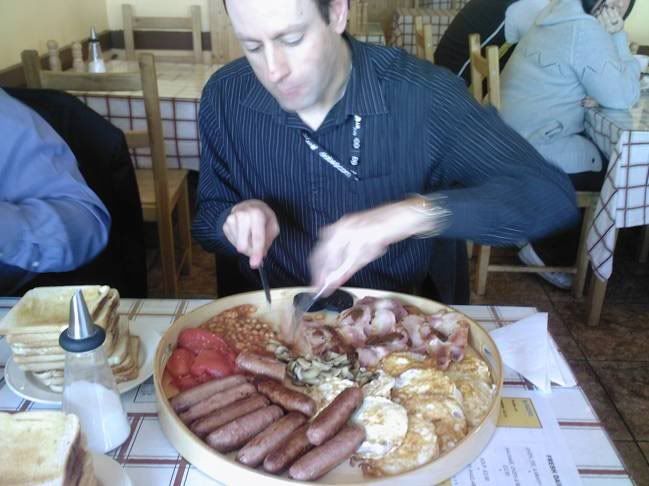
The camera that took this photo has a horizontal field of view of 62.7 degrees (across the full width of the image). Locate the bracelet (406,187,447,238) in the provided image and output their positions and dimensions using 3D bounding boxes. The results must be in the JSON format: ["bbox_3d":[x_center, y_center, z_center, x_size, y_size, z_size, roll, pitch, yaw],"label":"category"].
[{"bbox_3d":[0.274,-0.091,1.462,0.097,0.096,0.045,23,-7,-4],"label":"bracelet"}]

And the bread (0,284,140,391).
[{"bbox_3d":[-0.629,0.212,1.391,0.220,0.123,0.300,-5,39,-5],"label":"bread"}]
